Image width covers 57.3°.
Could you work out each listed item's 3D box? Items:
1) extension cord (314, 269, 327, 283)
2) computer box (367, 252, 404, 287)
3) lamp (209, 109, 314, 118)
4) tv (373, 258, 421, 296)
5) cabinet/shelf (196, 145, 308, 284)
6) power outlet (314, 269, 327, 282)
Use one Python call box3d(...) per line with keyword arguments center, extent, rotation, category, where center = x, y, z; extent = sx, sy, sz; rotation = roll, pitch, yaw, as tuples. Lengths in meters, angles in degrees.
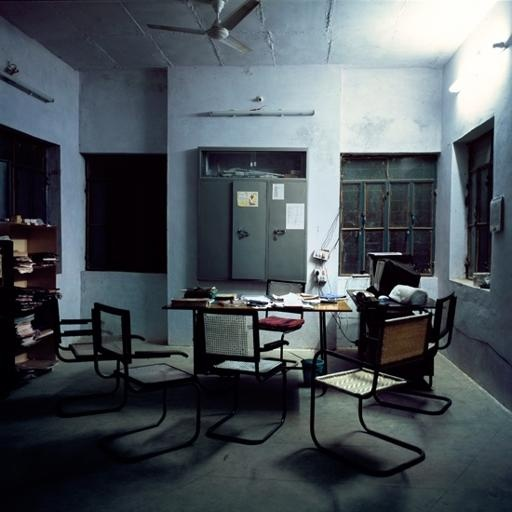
box3d(center=(0.759, 0.220, 5.546), extent=(0.156, 0.157, 0.052), rotation=(0, -2, -2), category="extension cord")
box3d(center=(1.292, 0.093, 4.860), extent=(0.414, 0.430, 0.310), rotation=(0, -3, 1), category="computer box")
box3d(center=(0.051, -1.695, 5.557), extent=(1.275, 0.083, 0.053), rotation=(1, 7, 5), category="lamp")
box3d(center=(1.369, 0.200, 4.571), extent=(0.351, 0.353, 0.351), rotation=(0, 3, -6), category="tv")
box3d(center=(-0.051, -0.430, 5.490), extent=(1.572, 2.005, 0.766), rotation=(0, 0, 1), category="cabinet/shelf")
box3d(center=(0.770, 0.225, 5.554), extent=(0.146, 0.173, 0.099), rotation=(-1, 7, -8), category="power outlet")
